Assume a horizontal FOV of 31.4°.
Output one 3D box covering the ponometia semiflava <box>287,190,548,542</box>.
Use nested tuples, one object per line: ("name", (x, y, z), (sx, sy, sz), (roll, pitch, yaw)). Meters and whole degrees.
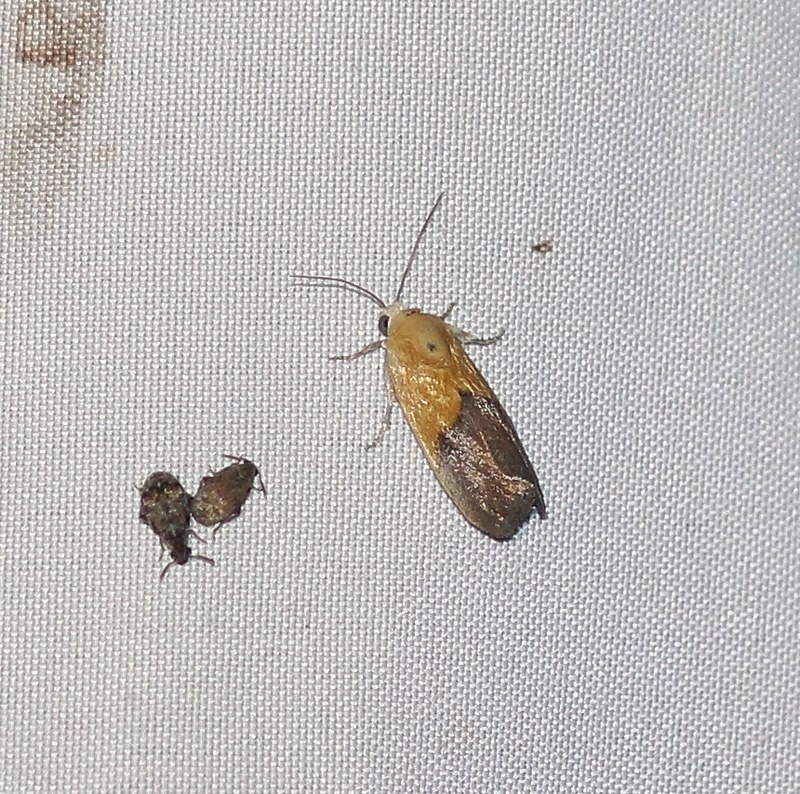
("ponometia semiflava", (0.122, -0.001, 3.980), (0.726, 0.457, 0.434), (21, -69, -22))

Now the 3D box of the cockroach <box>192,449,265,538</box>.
("cockroach", (-0.481, 0.273, 3.958), (0.217, 0.092, 0.141), (-32, -61, 3))
